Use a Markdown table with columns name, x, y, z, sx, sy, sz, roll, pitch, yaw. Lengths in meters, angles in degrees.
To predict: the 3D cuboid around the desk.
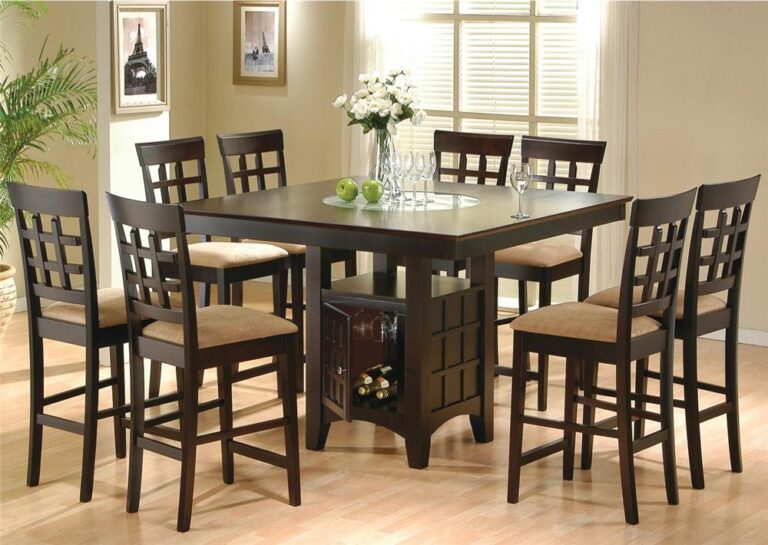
| name | x | y | z | sx | sy | sz | roll | pitch | yaw |
| --- | --- | --- | --- | --- | --- | --- | --- | --- | --- |
| desk | 0.093 | 0.318 | 3.555 | 1.528 | 1.062 | 1.647 | 3 | 4 | 33 |

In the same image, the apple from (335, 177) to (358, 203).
| name | x | y | z | sx | sy | sz | roll | pitch | yaw |
| --- | --- | --- | --- | --- | --- | --- | --- | --- | --- |
| apple | -0.186 | -0.415 | 3.598 | 0.117 | 0.118 | 0.119 | 20 | 18 | 35 |

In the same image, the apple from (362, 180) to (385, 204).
| name | x | y | z | sx | sy | sz | roll | pitch | yaw |
| --- | --- | --- | --- | --- | --- | --- | --- | --- | --- |
| apple | -0.070 | -0.404 | 3.577 | 0.110 | 0.126 | 0.107 | -11 | 12 | -33 |

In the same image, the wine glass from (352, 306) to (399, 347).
| name | x | y | z | sx | sy | sz | roll | pitch | yaw |
| --- | --- | --- | --- | --- | --- | --- | --- | --- | --- |
| wine glass | -0.031 | 0.272 | 3.419 | 0.221 | 0.155 | 0.137 | 2 | 6 | 25 |
